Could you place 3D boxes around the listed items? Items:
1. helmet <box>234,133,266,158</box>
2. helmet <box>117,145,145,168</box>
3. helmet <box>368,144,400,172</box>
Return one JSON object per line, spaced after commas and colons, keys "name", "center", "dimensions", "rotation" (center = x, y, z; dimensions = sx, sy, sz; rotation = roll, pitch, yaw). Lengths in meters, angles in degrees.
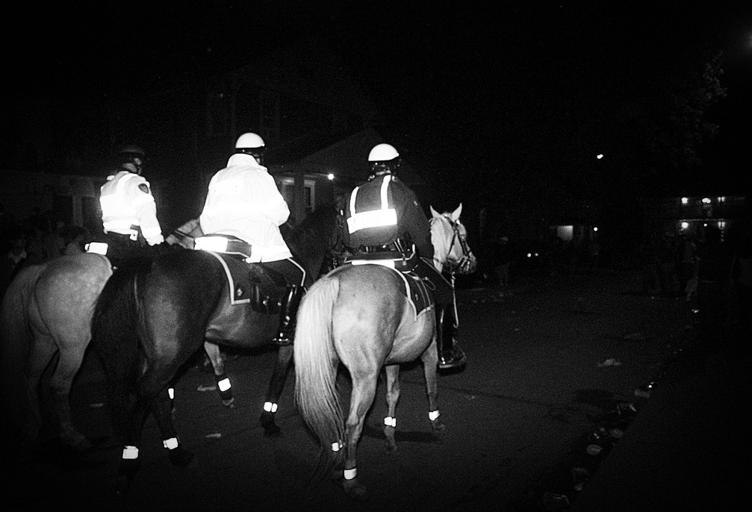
{"name": "helmet", "center": [-1.996, -1.753, 9.828], "dimensions": [0.493, 0.466, 0.404], "rotation": [-9, 19, -32]}
{"name": "helmet", "center": [-3.850, -1.579, 9.692], "dimensions": [0.320, 0.352, 0.390], "rotation": [10, 14, 27]}
{"name": "helmet", "center": [0.103, -1.493, 9.281], "dimensions": [0.386, 0.439, 0.477], "rotation": [3, 13, 21]}
